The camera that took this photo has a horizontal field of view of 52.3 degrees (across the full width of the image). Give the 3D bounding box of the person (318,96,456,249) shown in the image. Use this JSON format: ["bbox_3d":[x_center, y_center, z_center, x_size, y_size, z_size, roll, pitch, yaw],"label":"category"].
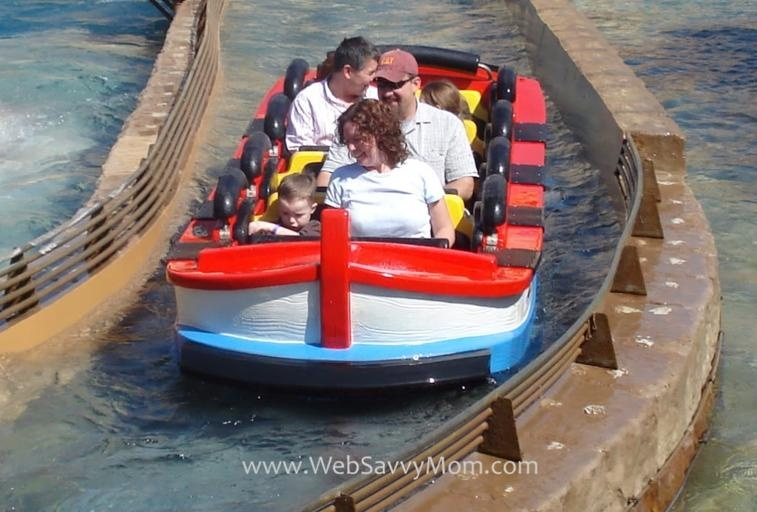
[{"bbox_3d":[0.046,-0.533,5.560,1.092,1.084,0.628,2,16,16],"label":"person"}]

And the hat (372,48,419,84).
[{"bbox_3d":[0.112,-1.522,6.116,0.296,0.225,0.407,13,31,26],"label":"hat"}]

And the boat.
[{"bbox_3d":[-0.116,-0.303,6.854,2.797,1.053,4.113,1,22,0],"label":"boat"}]
